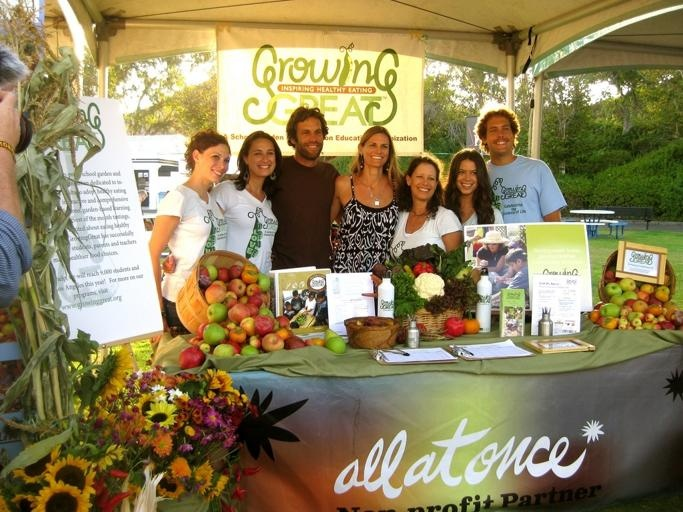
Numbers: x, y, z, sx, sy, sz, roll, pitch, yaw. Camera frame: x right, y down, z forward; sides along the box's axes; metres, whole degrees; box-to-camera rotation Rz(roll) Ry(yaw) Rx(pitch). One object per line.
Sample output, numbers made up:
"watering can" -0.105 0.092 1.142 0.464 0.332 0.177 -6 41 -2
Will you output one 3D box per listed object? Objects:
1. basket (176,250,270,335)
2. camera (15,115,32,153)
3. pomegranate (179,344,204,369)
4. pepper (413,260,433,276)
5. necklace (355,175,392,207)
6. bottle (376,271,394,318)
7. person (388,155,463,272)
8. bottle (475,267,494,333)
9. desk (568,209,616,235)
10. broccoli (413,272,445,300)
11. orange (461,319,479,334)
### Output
"basket" -0.720 0.165 2.669 0.469 0.501 0.364 10 -37 -39
"camera" -0.983 -0.382 1.412 0.031 0.101 0.094 3 -21 -21
"pomegranate" -0.739 0.499 2.249 0.100 0.124 0.099 27 -25 -18
"pepper" 0.494 0.063 2.747 0.085 0.089 0.089 -23 43 -6
"necklace" 0.253 -0.513 3.591 0.244 0.262 0.076 1 -24 -10
"bottle" 0.261 0.220 2.626 0.107 0.258 0.109 -4 6 0
"person" 0.630 -0.376 3.419 0.542 0.765 0.331 -2 7 17
"bottle" 0.888 0.264 2.834 0.095 0.403 0.181 -2 7 18
"desk" 7.934 -1.112 14.106 1.331 0.800 1.298 3 5 41
"broccoli" 0.517 0.171 2.644 0.197 0.161 0.090 -4 7 -2
"orange" 0.794 0.426 2.775 0.083 0.119 0.080 0 -6 -43
